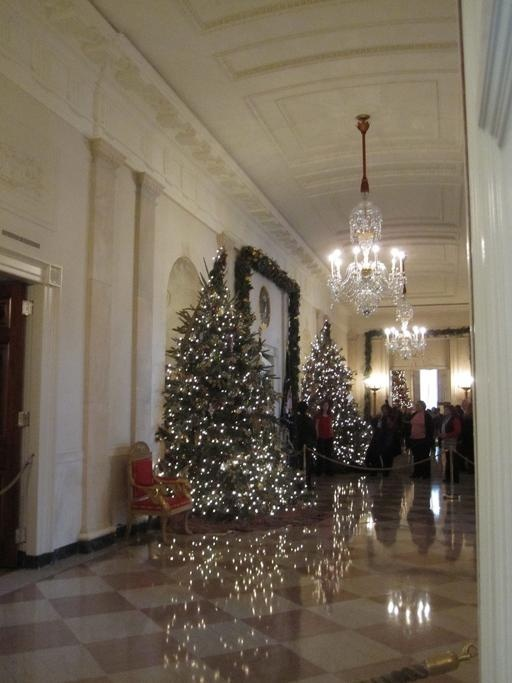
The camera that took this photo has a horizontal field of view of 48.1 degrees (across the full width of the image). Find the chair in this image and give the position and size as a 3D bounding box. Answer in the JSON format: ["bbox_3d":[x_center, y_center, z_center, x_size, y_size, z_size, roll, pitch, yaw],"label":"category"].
[{"bbox_3d":[-1.106,1.603,6.224,0.673,0.974,0.699,0,-8,19],"label":"chair"}]
